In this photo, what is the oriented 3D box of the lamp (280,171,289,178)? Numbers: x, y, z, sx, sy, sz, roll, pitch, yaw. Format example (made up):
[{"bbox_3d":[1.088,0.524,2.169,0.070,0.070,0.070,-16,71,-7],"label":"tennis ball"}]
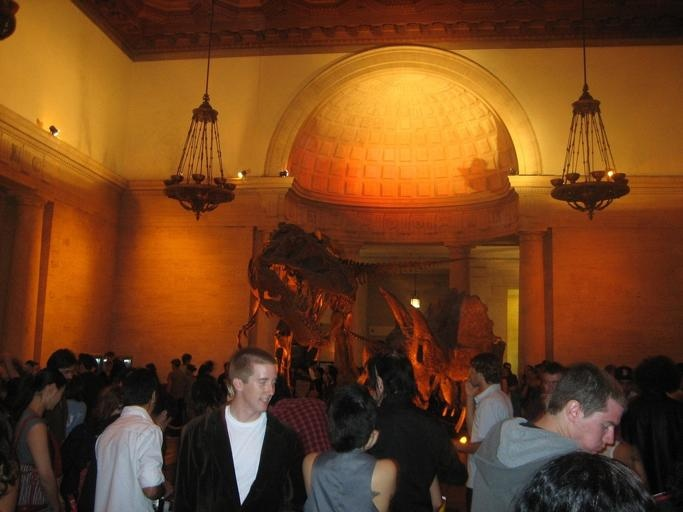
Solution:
[{"bbox_3d":[-1.190,-1.681,12.778,0.079,0.146,0.293,-2,-7,7],"label":"lamp"}]

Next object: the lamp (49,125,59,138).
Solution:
[{"bbox_3d":[-5.105,-2.210,10.979,0.134,0.059,0.215,-35,-9,-13],"label":"lamp"}]
